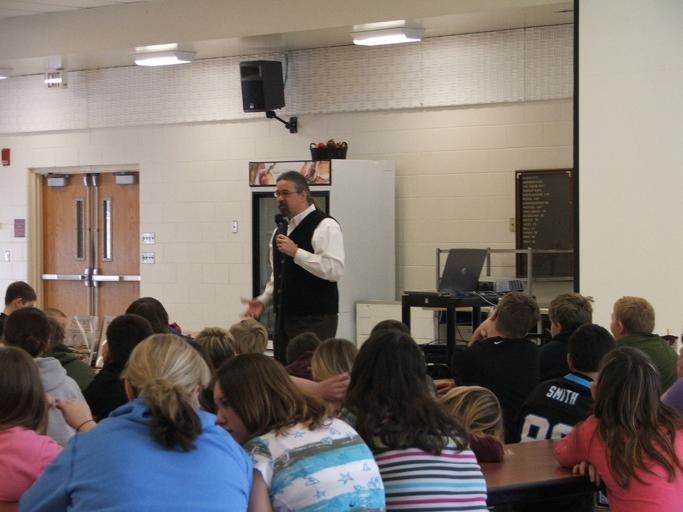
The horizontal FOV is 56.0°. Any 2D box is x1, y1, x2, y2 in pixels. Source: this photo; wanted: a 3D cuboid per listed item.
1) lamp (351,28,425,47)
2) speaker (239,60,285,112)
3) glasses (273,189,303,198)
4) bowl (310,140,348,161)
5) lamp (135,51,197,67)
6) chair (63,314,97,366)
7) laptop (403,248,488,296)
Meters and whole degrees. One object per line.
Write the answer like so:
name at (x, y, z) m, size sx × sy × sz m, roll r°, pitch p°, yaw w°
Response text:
lamp at (0.449, -2.185, 6.368) m, size 0.678 × 0.093 × 0.351 m, roll 2°, pitch 2°, yaw 10°
speaker at (-0.887, -1.863, 7.070) m, size 0.383 × 0.525 × 0.425 m, roll 9°, pitch 18°, yaw 36°
glasses at (-0.348, -0.392, 4.091) m, size 0.171 × 0.046 × 0.104 m, roll 2°, pitch 2°, yaw 9°
bowl at (-0.152, -1.138, 7.032) m, size 0.315 × 0.171 × 0.326 m, roll 0°, pitch -7°, yaw 0°
lamp at (-1.968, -2.185, 7.093) m, size 0.663 × 0.089 × 0.297 m, roll 2°, pitch 2°, yaw 17°
chair at (-2.090, 0.640, 5.076) m, size 0.275 × 0.386 × 0.275 m, roll -6°, pitch -1°, yaw 33°
laptop at (0.794, 0.116, 4.594) m, size 0.446 × 0.398 × 0.397 m, roll -3°, pitch -11°, yaw 29°
